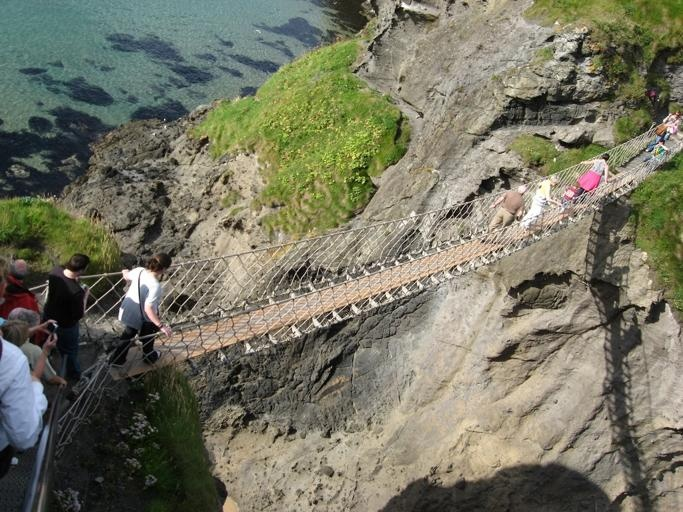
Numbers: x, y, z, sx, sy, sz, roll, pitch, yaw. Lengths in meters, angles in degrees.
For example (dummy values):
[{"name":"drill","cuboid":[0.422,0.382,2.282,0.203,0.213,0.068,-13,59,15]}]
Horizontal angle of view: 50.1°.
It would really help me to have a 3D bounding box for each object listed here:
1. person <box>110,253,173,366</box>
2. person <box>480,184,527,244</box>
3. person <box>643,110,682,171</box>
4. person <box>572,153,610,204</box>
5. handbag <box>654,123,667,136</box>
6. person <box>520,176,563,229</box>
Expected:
[{"name":"person","cuboid":[-4.359,1.150,16.144,1.101,2.706,0.763,6,28,-15]},{"name":"person","cuboid":[4.311,-1.157,19.036,0.737,1.873,0.504,31,43,7]},{"name":"person","cuboid":[9.068,-3.233,20.717,0.510,0.600,1.933,55,48,-10]},{"name":"person","cuboid":[6.626,-2.120,19.174,0.682,1.173,1.325,23,29,17]},{"name":"handbag","cuboid":[8.975,-3.525,20.532,0.277,0.288,0.513,25,29,19]},{"name":"person","cuboid":[5.271,-1.372,19.216,0.503,1.398,0.689,17,35,-32]}]
